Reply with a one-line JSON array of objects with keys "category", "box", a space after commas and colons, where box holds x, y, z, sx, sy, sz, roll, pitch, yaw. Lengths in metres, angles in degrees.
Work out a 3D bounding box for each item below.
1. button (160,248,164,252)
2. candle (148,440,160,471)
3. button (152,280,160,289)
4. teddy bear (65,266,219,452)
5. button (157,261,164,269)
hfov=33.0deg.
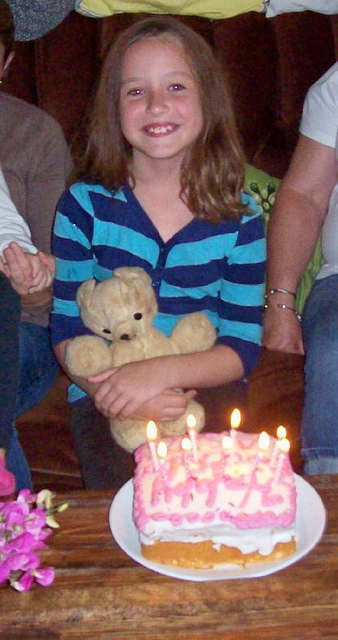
[{"category": "button", "box": [-0.017, -0.152, 1.248, 0.007, 0.006, 0.002, -7, -8, 37]}, {"category": "candle", "box": [-0.021, 0.194, 0.810, 0.010, 0.057, 0.017, -10, 31, -7]}, {"category": "button", "box": [-0.028, -0.077, 1.243, 0.016, 0.016, 0.005, 4, -3, -35]}, {"category": "teddy bear", "box": [-0.033, 0.054, 1.132, 0.256, 0.321, 0.283, 20, 39, 36]}, {"category": "button", "box": [-0.019, -0.121, 1.249, 0.017, 0.016, 0.005, -1, -2, 0]}]
